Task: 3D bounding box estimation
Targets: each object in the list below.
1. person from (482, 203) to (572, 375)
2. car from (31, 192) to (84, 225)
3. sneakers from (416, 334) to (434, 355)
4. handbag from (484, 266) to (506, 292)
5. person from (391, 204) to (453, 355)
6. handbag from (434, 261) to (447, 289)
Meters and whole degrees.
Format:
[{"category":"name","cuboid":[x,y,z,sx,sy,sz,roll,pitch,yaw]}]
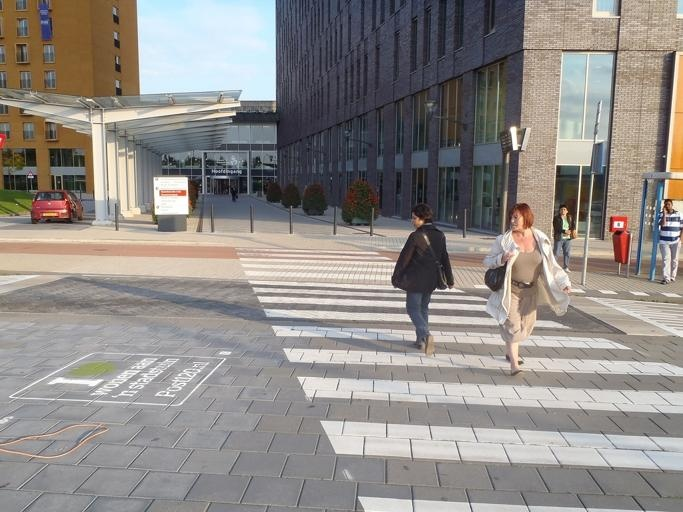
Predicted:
[{"category":"person","cuboid":[2.322,0.399,7.482,1.041,2.102,0.509,3,11,13]},{"category":"car","cuboid":[-12.824,-2.290,26.999,1.429,0.998,2.391,-2,13,-14]},{"category":"sneakers","cuboid":[1.204,1.203,8.287,0.196,0.274,0.339,0,10,-6]},{"category":"handbag","cuboid":[1.913,0.281,7.434,0.126,0.351,0.297,-6,13,-36]},{"category":"person","cuboid":[1.147,0.309,8.253,0.800,2.025,0.548,4,11,14]},{"category":"handbag","cuboid":[1.372,0.259,8.202,0.157,0.390,0.321,-13,6,7]}]
